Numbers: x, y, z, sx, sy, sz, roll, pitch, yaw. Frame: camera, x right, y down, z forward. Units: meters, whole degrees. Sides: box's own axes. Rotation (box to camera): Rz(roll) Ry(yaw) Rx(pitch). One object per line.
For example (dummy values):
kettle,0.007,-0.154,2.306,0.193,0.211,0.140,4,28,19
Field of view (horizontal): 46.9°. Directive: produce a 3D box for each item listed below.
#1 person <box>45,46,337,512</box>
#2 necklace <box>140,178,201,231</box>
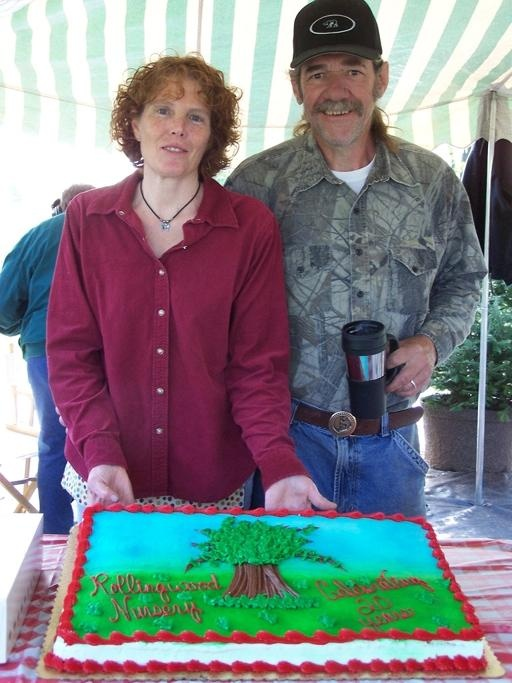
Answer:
person,-0.200,-0.156,1.795,0.847,1.416,0.707,7,11,5
necklace,-0.273,-0.431,1.868,0.192,0.207,0.012,10,-3,-10
